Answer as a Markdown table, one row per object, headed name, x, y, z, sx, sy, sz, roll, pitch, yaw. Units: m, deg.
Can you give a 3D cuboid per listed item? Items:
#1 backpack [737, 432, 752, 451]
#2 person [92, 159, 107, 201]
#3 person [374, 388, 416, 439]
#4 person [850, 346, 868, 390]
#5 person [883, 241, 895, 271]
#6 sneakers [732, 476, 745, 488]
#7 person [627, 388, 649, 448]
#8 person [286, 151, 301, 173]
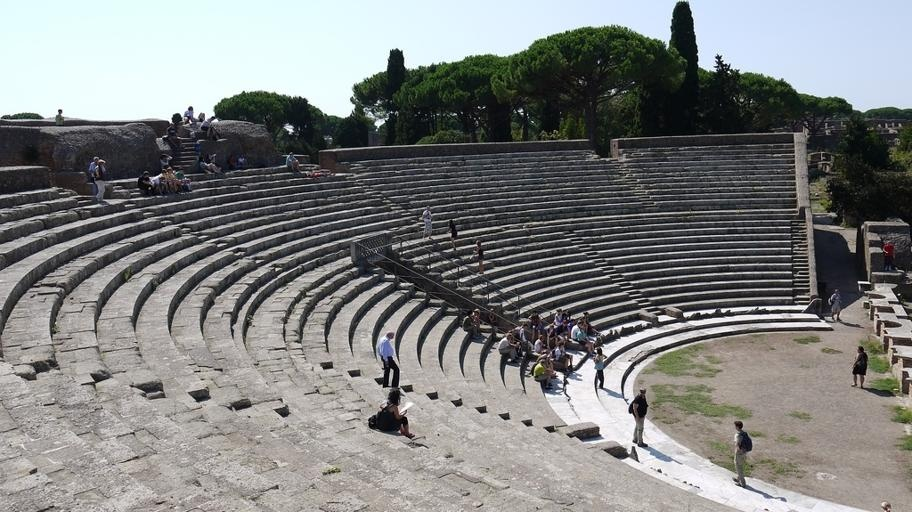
| name | x | y | z | sx | sy | sz | roll | pitch | yaw |
| --- | --- | --- | --- | --- | --- | --- | --- | --- | --- |
| backpack | 8.711 | 5.630 | 22.685 | 0.441 | 0.640 | 0.209 | -3 | 9 | -6 |
| person | -13.005 | -2.772 | 27.373 | 0.351 | 1.572 | 0.691 | -6 | 10 | -27 |
| person | -1.620 | 4.233 | 19.779 | 0.964 | 1.225 | 0.577 | -2 | 9 | -4 |
| person | 14.758 | 3.966 | 27.400 | 0.438 | 1.516 | 0.987 | 3 | 10 | 27 |
| person | 20.450 | 0.022 | 35.330 | 0.884 | 1.232 | 0.416 | -6 | 10 | -29 |
| sneakers | 8.592 | 6.894 | 22.782 | 0.185 | 0.130 | 0.349 | -6 | 19 | -38 |
| person | 6.005 | 5.203 | 24.713 | 0.545 | 1.865 | 1.248 | 0 | 9 | 12 |
| person | -7.741 | -4.422 | 35.833 | 0.616 | 0.915 | 1.794 | -3 | 9 | -11 |
